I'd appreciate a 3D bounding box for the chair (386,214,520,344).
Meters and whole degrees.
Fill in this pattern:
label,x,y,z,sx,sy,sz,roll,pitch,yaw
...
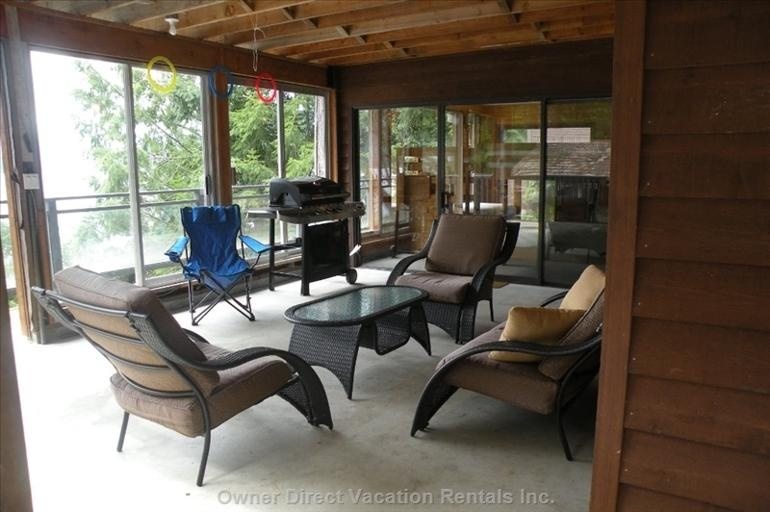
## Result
label,x,y,z,sx,sy,sz,roll,pitch,yaw
chair,0.497,0.162,5.475,1.254,1.146,1.436,6,11,38

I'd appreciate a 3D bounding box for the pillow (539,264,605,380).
label,x,y,z,sx,sy,sz,roll,pitch,yaw
pillow,1.184,0.389,3.282,0.210,0.605,0.683,21,-11,8
